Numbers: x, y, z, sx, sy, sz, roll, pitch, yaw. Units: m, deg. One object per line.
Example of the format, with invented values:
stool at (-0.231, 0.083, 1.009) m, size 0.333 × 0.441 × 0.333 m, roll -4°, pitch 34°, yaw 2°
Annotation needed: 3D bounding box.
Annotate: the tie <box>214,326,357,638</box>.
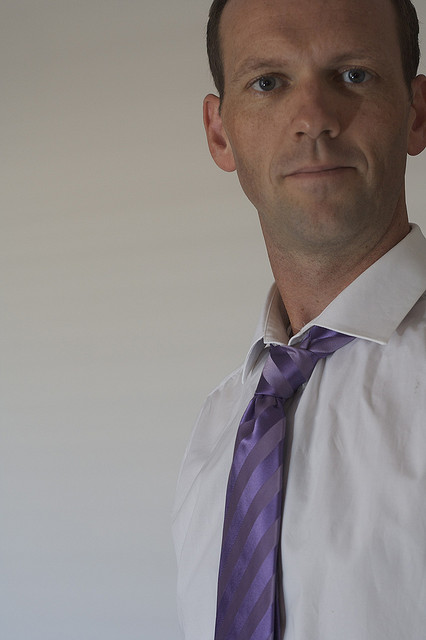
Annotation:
tie at (0.085, 0.175, 0.761) m, size 0.225 × 0.325 × 0.075 m, roll -13°, pitch -19°, yaw 8°
